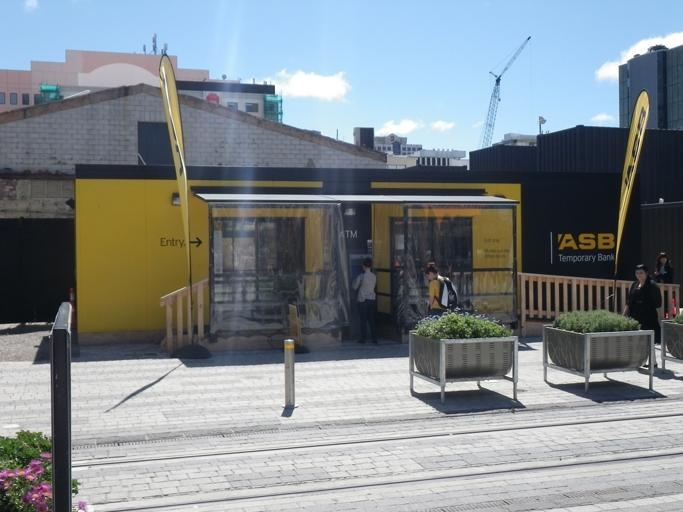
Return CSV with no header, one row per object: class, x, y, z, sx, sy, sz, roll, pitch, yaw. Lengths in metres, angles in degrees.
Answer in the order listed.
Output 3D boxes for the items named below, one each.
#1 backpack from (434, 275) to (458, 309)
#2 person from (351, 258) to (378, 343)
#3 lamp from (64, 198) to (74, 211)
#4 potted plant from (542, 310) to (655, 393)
backpack,2.074,0.801,16.415,0.340,0.716,0.485,-4,-16,20
person,0.550,1.067,19.495,0.583,2.001,0.405,-2,6,-14
lamp,-8.784,-1.682,26.657,0.386,0.422,0.255,4,7,41
potted plant,4.686,2.109,15.197,1.423,1.455,2.016,-4,-29,-4
